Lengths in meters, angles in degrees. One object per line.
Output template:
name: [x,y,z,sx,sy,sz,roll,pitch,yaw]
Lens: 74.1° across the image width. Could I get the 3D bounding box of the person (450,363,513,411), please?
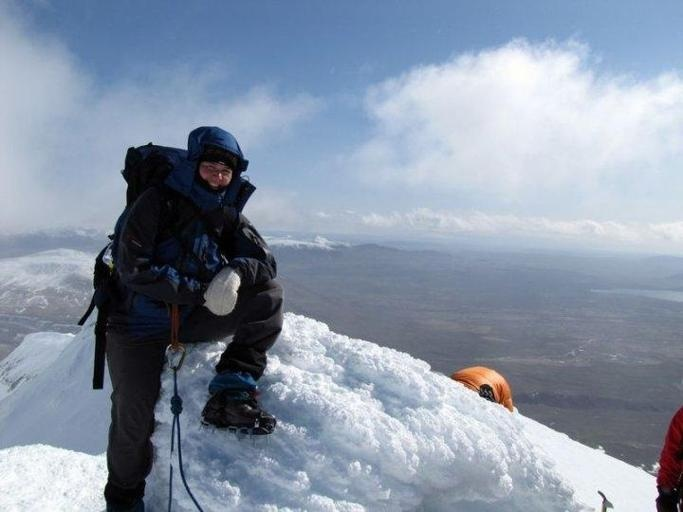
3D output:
person: [2.254,2.269,7.434,0.784,0.523,1.325,8,6,33]
